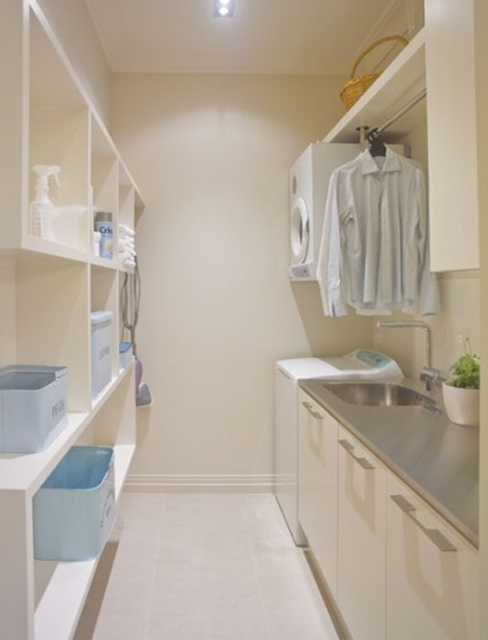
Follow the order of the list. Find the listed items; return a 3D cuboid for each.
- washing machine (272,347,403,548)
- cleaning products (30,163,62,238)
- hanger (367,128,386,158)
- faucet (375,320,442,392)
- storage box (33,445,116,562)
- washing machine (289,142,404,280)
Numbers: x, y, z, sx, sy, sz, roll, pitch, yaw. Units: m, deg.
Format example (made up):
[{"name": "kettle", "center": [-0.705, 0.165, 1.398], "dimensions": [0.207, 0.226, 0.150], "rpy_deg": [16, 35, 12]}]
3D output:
[{"name": "washing machine", "center": [0.385, 0.745, 2.624], "dimensions": [0.540, 1.405, 1.045], "rpy_deg": [1, 2, -1]}, {"name": "cleaning products", "center": [-0.509, -0.311, 1.231], "dimensions": [0.069, 0.218, 0.153], "rpy_deg": [0, 2, -23]}, {"name": "hanger", "center": [0.562, -0.757, 2.036], "dimensions": [0.075, 0.146, 0.116], "rpy_deg": [1, 2, 15]}, {"name": "faucet", "center": [0.664, 0.160, 1.910], "dimensions": [0.197, 0.318, 0.131], "rpy_deg": [-6, 6, 6]}, {"name": "storage box", "center": [-0.470, 0.516, 1.319], "dimensions": [0.122, 0.213, 0.267], "rpy_deg": [-1, 1, -9]}, {"name": "washing machine", "center": [0.493, -0.281, 2.548], "dimensions": [0.445, 1.066, 0.980], "rpy_deg": [1, -3, 2]}]
